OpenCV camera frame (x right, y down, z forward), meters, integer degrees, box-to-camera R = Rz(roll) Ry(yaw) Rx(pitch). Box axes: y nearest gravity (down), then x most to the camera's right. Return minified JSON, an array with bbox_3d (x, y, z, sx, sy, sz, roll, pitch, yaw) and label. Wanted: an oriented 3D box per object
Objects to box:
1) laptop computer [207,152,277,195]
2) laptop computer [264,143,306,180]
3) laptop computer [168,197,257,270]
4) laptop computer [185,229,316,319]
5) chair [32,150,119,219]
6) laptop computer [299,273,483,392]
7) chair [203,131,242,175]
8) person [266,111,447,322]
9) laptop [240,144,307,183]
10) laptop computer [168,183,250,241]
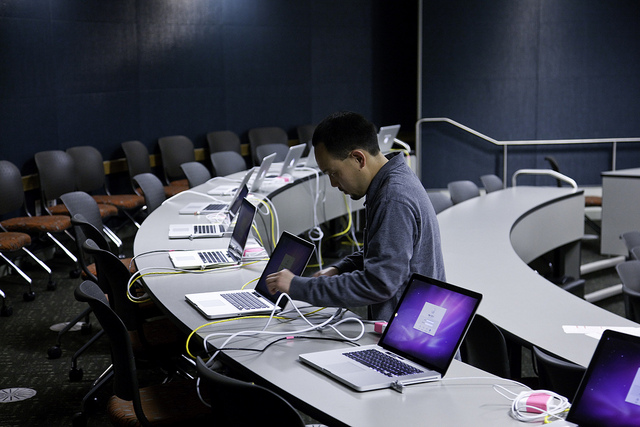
[{"bbox_3d":[-0.764,-0.341,4.551,0.488,0.336,0.534,5,11,13],"label":"laptop computer"},{"bbox_3d":[-0.383,-0.574,5.099,0.368,0.293,0.462,4,9,19],"label":"laptop computer"},{"bbox_3d":[-0.673,0.042,2.913,0.569,0.395,0.562,15,-9,-23],"label":"laptop computer"},{"bbox_3d":[-0.467,0.258,2.257,0.554,0.364,0.491,-3,3,-35],"label":"laptop computer"},{"bbox_3d":[-2.997,-0.237,5.649,0.875,0.774,0.617,38,30,28],"label":"chair"},{"bbox_3d":[0.266,0.421,1.766,0.629,0.336,0.571,5,-3,-43],"label":"laptop computer"},{"bbox_3d":[-1.657,-1.056,7.998,0.650,0.985,0.722,-5,9,-30],"label":"chair"},{"bbox_3d":[0.311,0.009,2.696,0.901,1.571,0.790,-1,5,11],"label":"person"},{"bbox_3d":[-0.452,-0.594,5.138,0.532,0.341,0.516,4,9,20],"label":"laptop"},{"bbox_3d":[-0.855,0.037,3.478,0.451,0.311,0.461,2,13,-6],"label":"laptop computer"}]
